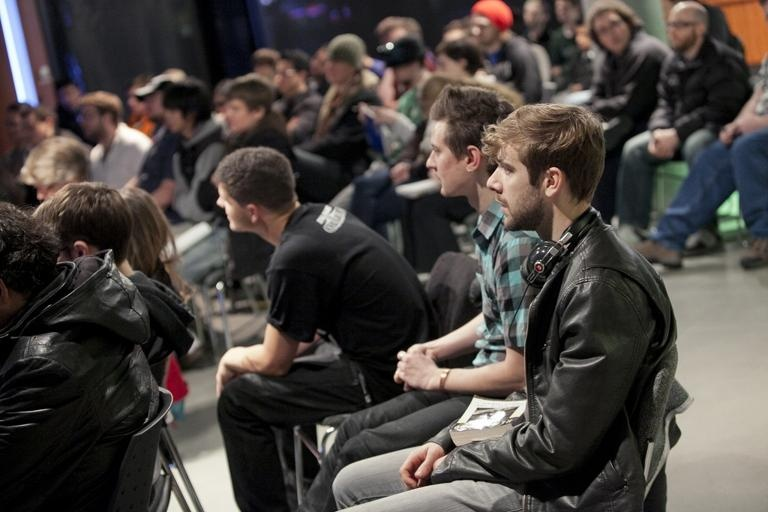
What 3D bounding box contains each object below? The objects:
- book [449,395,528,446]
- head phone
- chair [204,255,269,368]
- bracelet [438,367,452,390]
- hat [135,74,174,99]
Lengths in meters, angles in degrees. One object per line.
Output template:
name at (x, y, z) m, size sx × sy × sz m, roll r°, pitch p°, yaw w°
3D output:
book at (0.361, 0.557, 2.553) m, size 0.187 × 0.077 × 0.191 m, roll -12°, pitch 12°, yaw 23°
head phone at (0.561, -0.031, 2.349) m, size 0.267 × 0.101 × 0.238 m, roll -48°, pitch -7°, yaw -5°
chair at (-1.012, 0.367, 5.108) m, size 0.437 × 0.821 × 0.431 m, roll -20°, pitch 35°, yaw -32°
bracelet at (0.233, 0.467, 2.879) m, size 0.040 × 0.077 × 0.072 m, roll -4°, pitch 46°, yaw 23°
hat at (-1.757, -1.329, 5.818) m, size 0.558 × 0.176 × 0.218 m, roll 7°, pitch 19°, yaw 44°
